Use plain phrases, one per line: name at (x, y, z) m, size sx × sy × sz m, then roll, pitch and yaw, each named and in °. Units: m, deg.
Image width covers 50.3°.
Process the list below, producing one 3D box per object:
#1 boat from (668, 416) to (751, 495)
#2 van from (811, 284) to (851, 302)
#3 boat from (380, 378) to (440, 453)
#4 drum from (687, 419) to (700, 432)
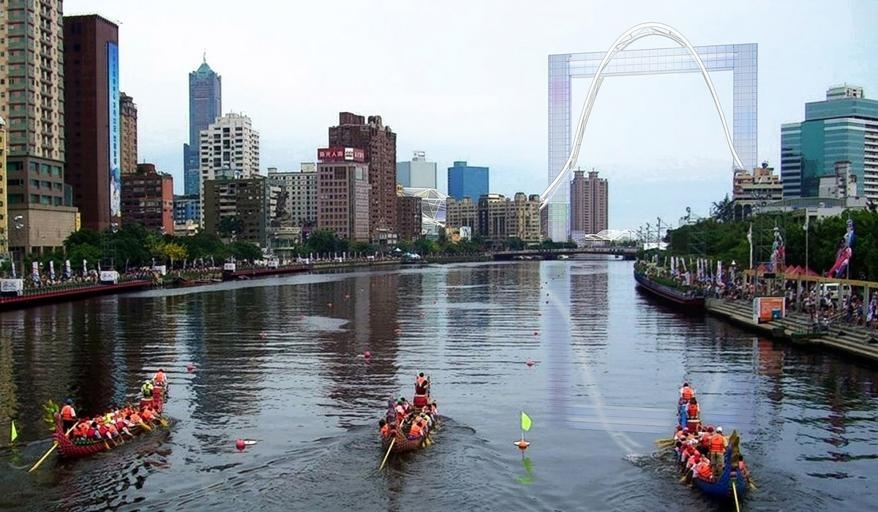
boat at (25.356, 17.651, 84.067) m, size 4.866 × 6.519 × 13.047 m, roll -2°, pitch 7°, yaw 6°
van at (48.906, 4.569, 116.362) m, size 4.048 × 1.869 × 2.162 m, roll -2°, pitch 4°, yaw -7°
boat at (-2.650, 14.516, 86.571) m, size 4.487 × 5.295 × 13.201 m, roll 0°, pitch 6°, yaw 10°
drum at (23.147, 15.350, 84.511) m, size 1.110 × 1.088 × 1.067 m, roll -1°, pitch -5°, yaw -1°
